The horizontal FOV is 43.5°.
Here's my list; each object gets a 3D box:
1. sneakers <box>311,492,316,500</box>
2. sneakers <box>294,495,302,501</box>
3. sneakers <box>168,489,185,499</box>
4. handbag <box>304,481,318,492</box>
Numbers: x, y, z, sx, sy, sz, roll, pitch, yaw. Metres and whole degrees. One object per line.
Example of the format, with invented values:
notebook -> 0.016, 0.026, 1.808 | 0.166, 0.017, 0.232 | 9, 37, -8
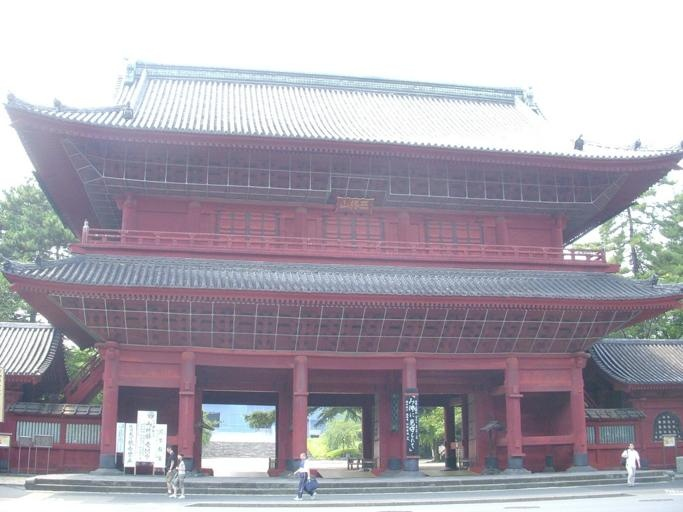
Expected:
sneakers -> -1.168, 9.761, 35.128 | 0.181, 0.278, 0.096 | 7, -3, -37
sneakers -> -1.785, 9.826, 34.991 | 0.287, 0.174, 0.170 | 5, -14, -9
sneakers -> -6.840, 9.697, 35.069 | 0.702, 0.278, 0.229 | 14, -26, -19
handbag -> -1.302, 9.325, 35.025 | 0.468, 0.449, 0.200 | -3, -22, -8
